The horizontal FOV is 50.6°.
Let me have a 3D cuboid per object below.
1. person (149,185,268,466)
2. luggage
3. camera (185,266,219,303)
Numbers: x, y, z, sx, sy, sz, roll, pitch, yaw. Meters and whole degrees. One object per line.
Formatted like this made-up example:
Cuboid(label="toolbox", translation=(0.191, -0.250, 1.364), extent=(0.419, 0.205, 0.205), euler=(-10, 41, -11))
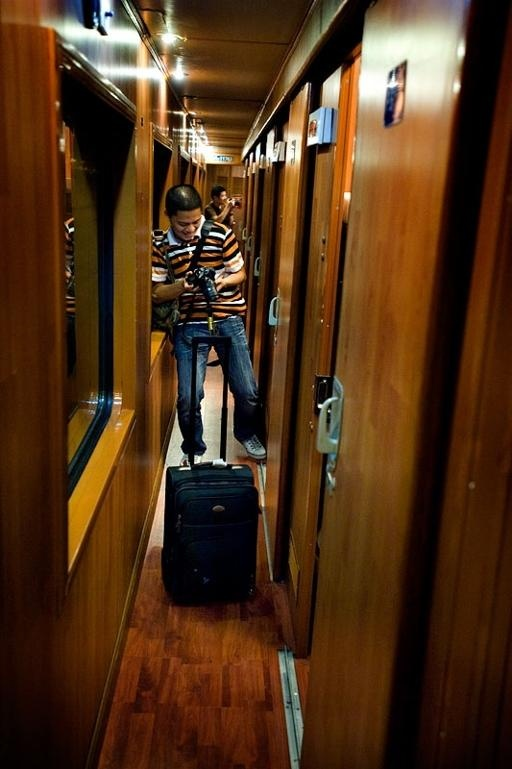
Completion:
Cuboid(label="person", translation=(-0.365, -0.427, 4.262), extent=(0.511, 2.027, 1.071), euler=(6, 9, 34))
Cuboid(label="luggage", translation=(-0.237, 0.651, 2.925), extent=(0.431, 0.890, 0.473), euler=(-7, 36, -15))
Cuboid(label="camera", translation=(-0.395, -0.725, 3.929), extent=(0.210, 0.237, 0.225), euler=(2, 8, -5))
